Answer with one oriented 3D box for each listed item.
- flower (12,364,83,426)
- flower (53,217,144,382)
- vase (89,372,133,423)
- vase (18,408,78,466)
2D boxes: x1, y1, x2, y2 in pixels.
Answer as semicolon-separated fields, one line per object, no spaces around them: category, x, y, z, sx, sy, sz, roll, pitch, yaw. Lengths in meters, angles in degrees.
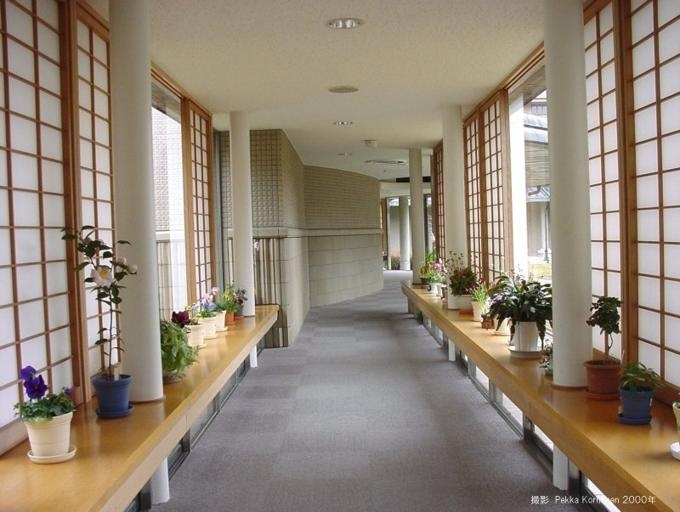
flower;-1.558;0.751;2.700;0.395;0.301;0.422;1;-12;-5
flower;-1.628;0.358;3.329;0.423;1.151;1.079;-4;4;-30
vase;-1.469;0.884;3.101;0.259;0.267;0.273;-1;-4;-4
vase;-1.501;0.941;2.613;0.266;0.265;0.265;0;1;17
